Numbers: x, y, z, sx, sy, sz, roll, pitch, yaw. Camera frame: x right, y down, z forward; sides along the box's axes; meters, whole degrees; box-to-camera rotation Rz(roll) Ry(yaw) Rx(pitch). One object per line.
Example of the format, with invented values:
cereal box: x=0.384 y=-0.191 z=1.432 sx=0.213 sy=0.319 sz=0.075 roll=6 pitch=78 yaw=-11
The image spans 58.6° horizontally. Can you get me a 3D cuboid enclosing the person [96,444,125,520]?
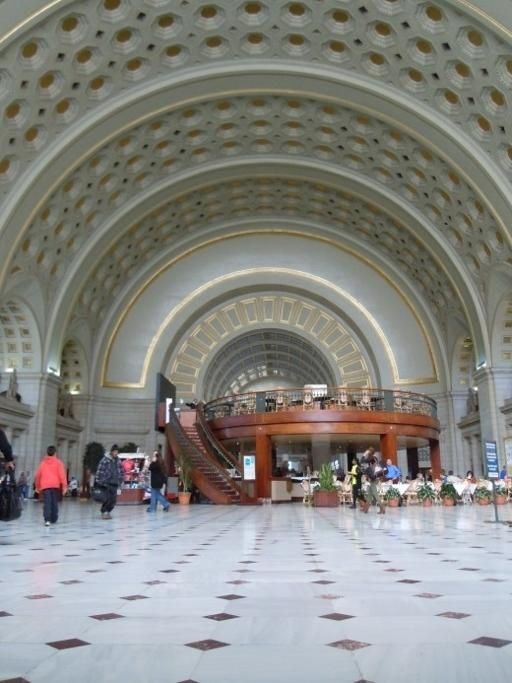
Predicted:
person: x=-4.014 y=3.873 z=12.598 sx=0.625 sy=1.985 sz=1.521 roll=2 pitch=-13 yaw=-18

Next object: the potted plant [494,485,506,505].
potted plant: x=10.080 y=6.269 z=18.812 sx=0.354 sy=0.928 sz=2.564 roll=-9 pitch=-14 yaw=26

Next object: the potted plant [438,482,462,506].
potted plant: x=7.728 y=6.105 z=18.288 sx=0.614 sy=0.905 sz=1.294 roll=-7 pitch=-13 yaw=18

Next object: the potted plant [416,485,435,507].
potted plant: x=6.980 y=6.082 z=18.242 sx=0.902 sy=0.854 sz=0.877 roll=0 pitch=-15 yaw=1

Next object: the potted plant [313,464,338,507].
potted plant: x=2.882 y=5.885 z=18.859 sx=0.949 sy=1.681 sz=1.941 roll=-4 pitch=-13 yaw=8

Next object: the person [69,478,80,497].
person: x=-11.366 y=9.225 z=28.980 sx=0.631 sy=1.145 sz=1.603 roll=2 pitch=-14 yaw=-20
